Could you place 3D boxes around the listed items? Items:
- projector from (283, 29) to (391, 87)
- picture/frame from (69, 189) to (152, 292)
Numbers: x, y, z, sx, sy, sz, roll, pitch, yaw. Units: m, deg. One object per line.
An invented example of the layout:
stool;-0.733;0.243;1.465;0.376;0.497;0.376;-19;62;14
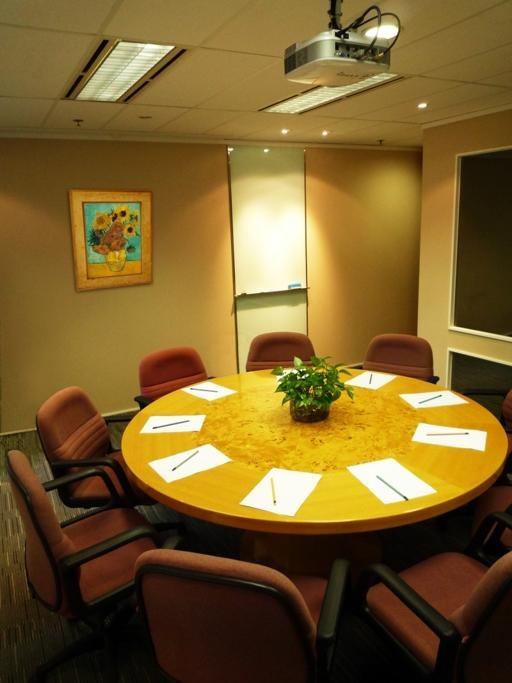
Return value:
projector;0.283;-1.016;1.816;0.334;0.103;0.310;-8;14;-24
picture/frame;-1.326;-0.974;4.658;0.722;0.847;0.031;-8;27;-27
